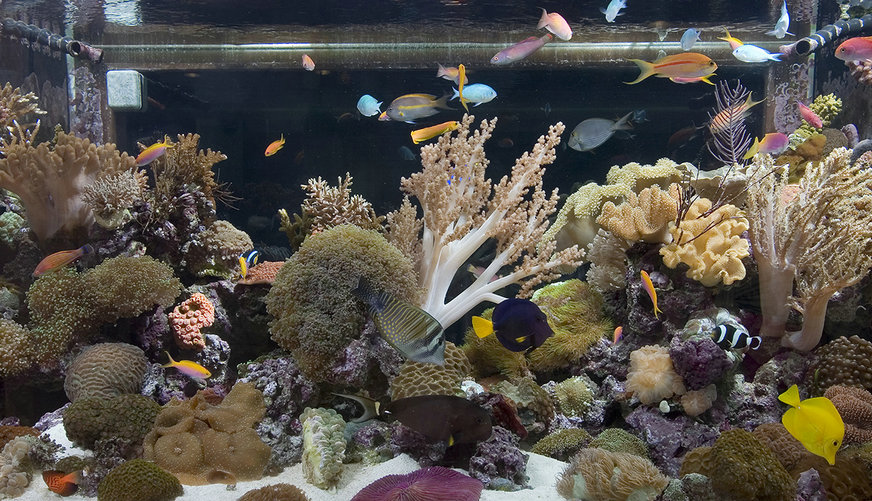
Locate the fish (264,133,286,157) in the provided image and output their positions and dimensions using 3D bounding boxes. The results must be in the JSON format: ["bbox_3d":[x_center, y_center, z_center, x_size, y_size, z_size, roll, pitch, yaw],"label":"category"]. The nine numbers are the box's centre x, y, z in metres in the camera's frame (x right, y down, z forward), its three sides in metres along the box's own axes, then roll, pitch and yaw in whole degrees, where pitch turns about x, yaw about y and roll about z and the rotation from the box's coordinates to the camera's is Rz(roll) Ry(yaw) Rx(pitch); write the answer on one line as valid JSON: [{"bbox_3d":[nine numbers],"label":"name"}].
[{"bbox_3d":[-2.527,-1.635,13.740,0.091,0.396,0.170,41,8,1],"label":"fish"}]

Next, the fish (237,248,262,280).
[{"bbox_3d":[-2.611,0.171,12.199,0.247,0.422,0.472,1,17,-20],"label":"fish"}]

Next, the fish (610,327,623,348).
[{"bbox_3d":[2.389,1.123,11.567,0.138,0.237,0.166,10,16,10],"label":"fish"}]

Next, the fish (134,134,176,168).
[{"bbox_3d":[-3.922,-1.328,12.191,0.509,0.354,0.269,4,16,-11],"label":"fish"}]
